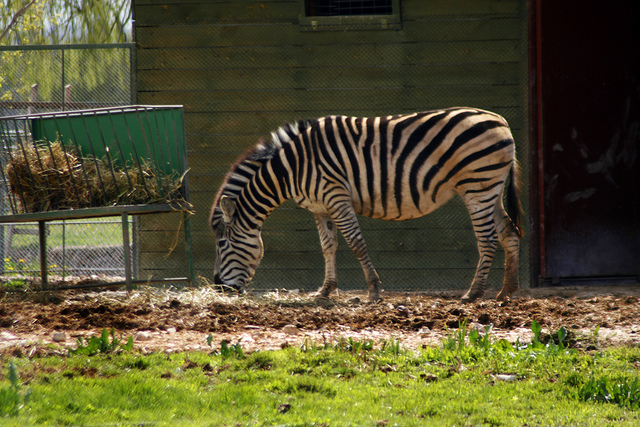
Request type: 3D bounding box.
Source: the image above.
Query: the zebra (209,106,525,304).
[{"bbox_3d":[0.598,0.036,14.726,4.067,2.443,1.135,-3,-2,4],"label":"zebra"}]
